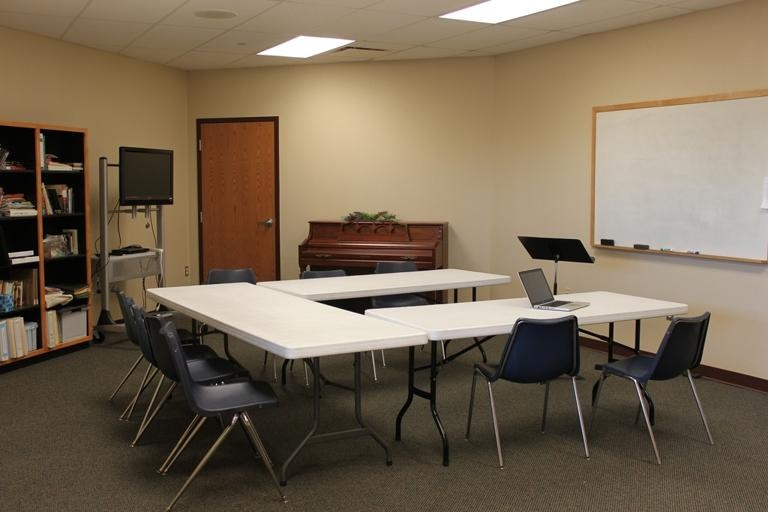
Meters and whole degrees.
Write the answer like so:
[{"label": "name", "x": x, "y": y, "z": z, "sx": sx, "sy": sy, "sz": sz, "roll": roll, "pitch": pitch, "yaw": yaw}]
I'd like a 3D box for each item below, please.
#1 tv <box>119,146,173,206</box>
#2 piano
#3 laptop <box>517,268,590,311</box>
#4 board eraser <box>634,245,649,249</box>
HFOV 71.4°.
[{"label": "tv", "x": -3.211, "y": -1.053, "z": 7.202, "sx": 0.100, "sy": 0.758, "sz": 0.819, "roll": 9, "pitch": 10, "yaw": 29}, {"label": "piano", "x": -0.091, "y": 0.106, "z": 6.787, "sx": 1.292, "sy": 0.805, "sz": 0.440, "roll": -1, "pitch": -8, "yaw": 8}, {"label": "laptop", "x": 1.497, "y": 0.301, "z": 4.675, "sx": 0.558, "sy": 0.287, "sz": 0.541, "roll": -2, "pitch": 5, "yaw": -43}, {"label": "board eraser", "x": 2.999, "y": -0.104, "z": 6.208, "sx": 0.061, "sy": 0.039, "sz": 0.086, "roll": -1, "pitch": 4, "yaw": -29}]
